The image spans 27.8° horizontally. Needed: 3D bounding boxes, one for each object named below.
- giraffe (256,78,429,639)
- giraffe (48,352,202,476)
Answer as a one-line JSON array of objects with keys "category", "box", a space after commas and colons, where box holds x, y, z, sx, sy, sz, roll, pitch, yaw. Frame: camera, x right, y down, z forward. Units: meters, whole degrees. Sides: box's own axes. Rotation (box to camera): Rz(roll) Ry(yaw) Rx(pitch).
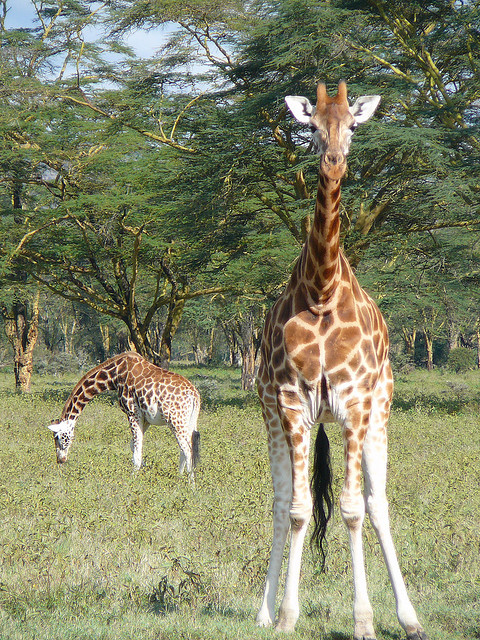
[{"category": "giraffe", "box": [0.724, 0.350, 7.912, 1.201, 4.320, 1.630, -1, -3, 1]}, {"category": "giraffe", "box": [-1.497, 1.308, 14.206, 2.213, 1.730, 1.272, -2, -4, 20]}]
